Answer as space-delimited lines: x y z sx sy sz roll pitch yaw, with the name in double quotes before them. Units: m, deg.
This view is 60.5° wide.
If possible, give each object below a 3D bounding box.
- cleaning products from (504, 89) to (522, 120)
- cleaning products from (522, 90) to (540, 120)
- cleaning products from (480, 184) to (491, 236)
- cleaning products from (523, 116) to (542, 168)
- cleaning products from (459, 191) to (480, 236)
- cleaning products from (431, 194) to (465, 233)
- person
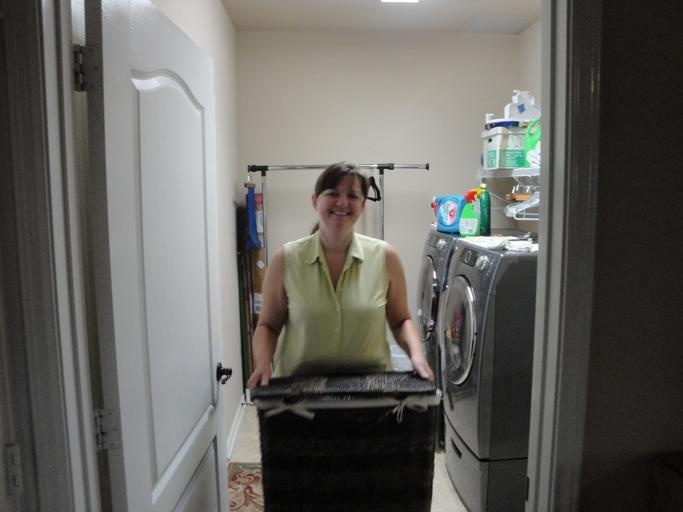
"cleaning products" 1.001 -0.877 3.417 0.119 0.160 0.077 -8 8 -29
"cleaning products" 1.153 -0.898 3.547 0.081 0.162 0.323 -1 8 20
"cleaning products" 0.797 -0.258 3.267 0.056 0.281 0.104 -2 7 12
"cleaning products" 1.089 -0.627 3.300 0.110 0.301 0.064 1 -12 24
"cleaning products" 0.723 -0.250 3.315 0.121 0.247 0.215 -2 7 18
"cleaning products" 0.645 -0.255 3.523 0.192 0.215 0.116 2 4 28
"person" 0.001 0.112 2.148 0.565 0.891 0.493 0 2 1
